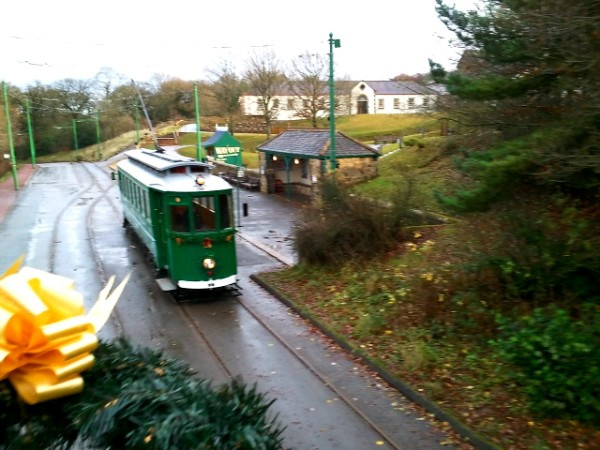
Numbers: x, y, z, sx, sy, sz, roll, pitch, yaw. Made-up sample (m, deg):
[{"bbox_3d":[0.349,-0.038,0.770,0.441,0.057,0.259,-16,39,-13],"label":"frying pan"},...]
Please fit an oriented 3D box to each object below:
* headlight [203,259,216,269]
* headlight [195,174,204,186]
[{"bbox_3d":[-2.527,1.087,12.593,0.393,0.263,0.093,-4,50,7],"label":"headlight"},{"bbox_3d":[-2.780,-1.262,12.609,0.316,0.245,0.172,-2,-11,-17],"label":"headlight"}]
